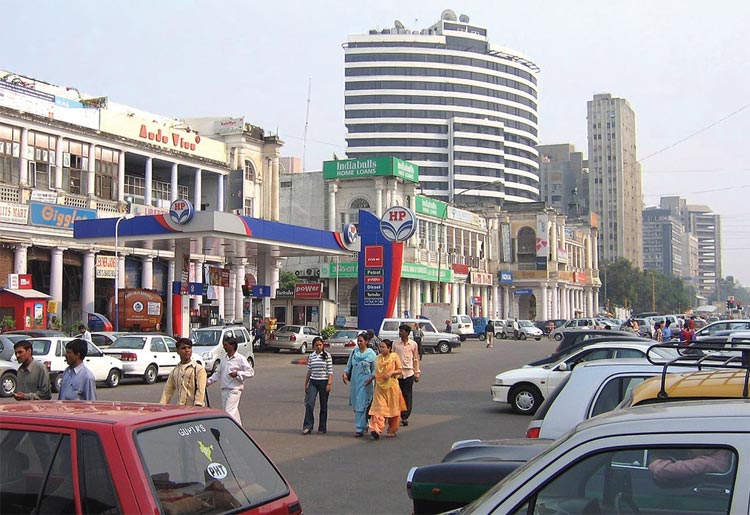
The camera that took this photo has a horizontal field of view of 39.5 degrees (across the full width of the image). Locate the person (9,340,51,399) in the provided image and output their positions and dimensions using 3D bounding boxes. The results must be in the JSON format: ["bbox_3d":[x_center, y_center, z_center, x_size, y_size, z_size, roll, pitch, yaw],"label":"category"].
[{"bbox_3d":[-5.548,1.824,16.931,0.573,0.936,0.385,0,-5,-1],"label":"person"}]

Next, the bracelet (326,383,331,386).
[{"bbox_3d":[-0.958,2.639,21.542,0.092,0.065,0.086,-2,-2,0],"label":"bracelet"}]

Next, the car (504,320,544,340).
[{"bbox_3d":[9.484,4.698,67.341,1.271,0.904,2.135,2,-7,-33],"label":"car"}]

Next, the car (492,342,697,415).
[{"bbox_3d":[4.634,2.848,22.642,4.355,1.440,2.000,-1,-4,16],"label":"car"}]

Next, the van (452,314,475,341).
[{"bbox_3d":[5.283,4.179,63.136,1.053,0.931,1.820,-1,4,1],"label":"van"}]

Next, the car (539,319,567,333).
[{"bbox_3d":[12.198,4.739,72.864,2.019,0.905,1.224,-6,0,-7],"label":"car"}]

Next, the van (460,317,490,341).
[{"bbox_3d":[6.480,4.568,66.275,2.076,1.117,1.197,2,-2,9],"label":"van"}]

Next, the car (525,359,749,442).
[{"bbox_3d":[3.469,2.171,15.147,2.342,1.121,1.270,-5,-4,11],"label":"car"}]

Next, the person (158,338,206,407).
[{"bbox_3d":[-3.258,1.947,17.793,0.703,1.144,0.708,-1,-5,4],"label":"person"}]

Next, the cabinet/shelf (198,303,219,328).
[{"bbox_3d":[-8.108,2.869,50.599,0.343,0.869,0.968,-4,-6,22],"label":"cabinet/shelf"}]

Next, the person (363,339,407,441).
[{"bbox_3d":[0.217,2.641,20.953,0.774,1.950,0.530,1,-6,-17],"label":"person"}]

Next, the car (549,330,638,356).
[{"bbox_3d":[5.861,2.517,28.112,1.753,0.853,1.011,-6,-1,12],"label":"car"}]

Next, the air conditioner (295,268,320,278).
[{"bbox_3d":[-4.833,1.121,73.808,0.460,0.776,2.184,5,-7,-44],"label":"air conditioner"}]

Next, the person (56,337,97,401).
[{"bbox_3d":[-4.690,1.760,16.444,0.502,0.935,0.566,2,-6,-24],"label":"person"}]

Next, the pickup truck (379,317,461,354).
[{"bbox_3d":[2.293,3.593,48.176,4.118,1.682,2.173,-1,-3,-1],"label":"pickup truck"}]

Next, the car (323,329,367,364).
[{"bbox_3d":[-1.189,3.673,41.660,1.395,1.050,3.257,0,1,16],"label":"car"}]
